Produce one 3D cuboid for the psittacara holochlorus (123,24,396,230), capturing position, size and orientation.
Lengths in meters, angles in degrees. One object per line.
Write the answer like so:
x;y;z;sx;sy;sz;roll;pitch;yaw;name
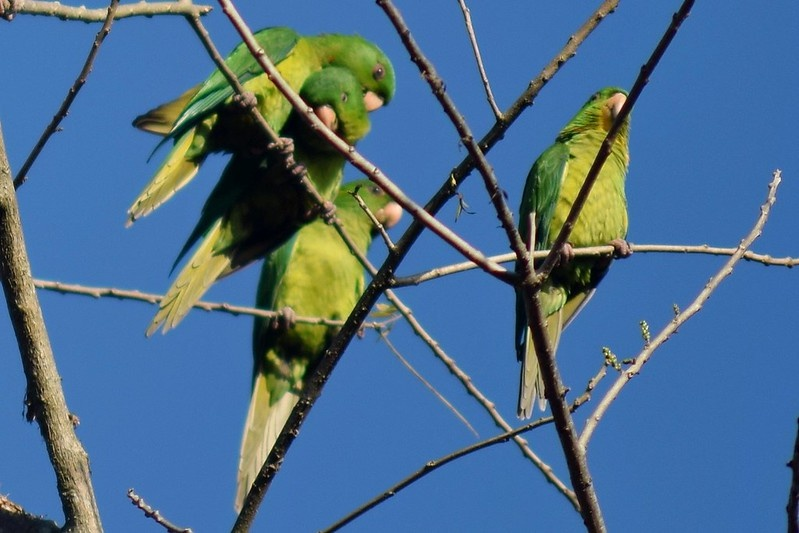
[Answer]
-0.692;-0.760;7.750;1.246;1.654;0.497;12;-55;-4;psittacara holochlorus
